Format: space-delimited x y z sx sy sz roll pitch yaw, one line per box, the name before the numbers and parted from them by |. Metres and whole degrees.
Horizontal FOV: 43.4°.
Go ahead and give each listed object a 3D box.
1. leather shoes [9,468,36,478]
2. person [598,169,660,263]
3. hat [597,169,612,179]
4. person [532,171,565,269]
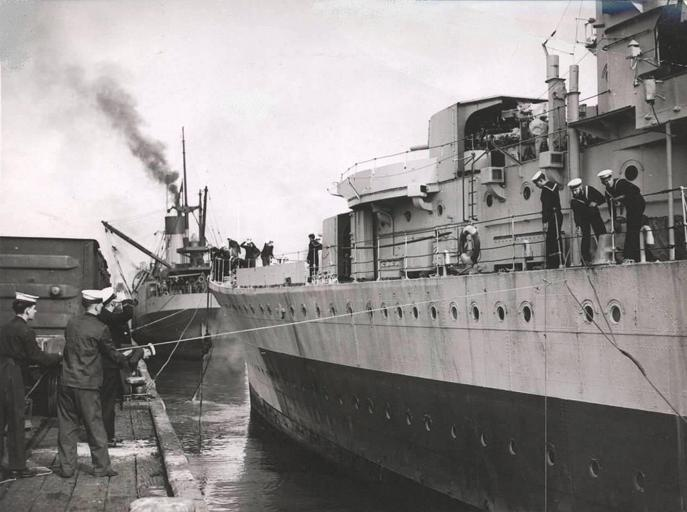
leather shoes | -5.077 3.394 13.603 0.304 0.156 0.145 -1 1 -18
person | 5.115 -0.687 15.391 1.028 1.589 1.330 1 -2 29
hat | 4.797 -1.502 15.842 0.310 0.126 0.330 -9 5 25
person | 3.926 -0.701 16.402 0.320 1.834 0.699 3 -1 -38
